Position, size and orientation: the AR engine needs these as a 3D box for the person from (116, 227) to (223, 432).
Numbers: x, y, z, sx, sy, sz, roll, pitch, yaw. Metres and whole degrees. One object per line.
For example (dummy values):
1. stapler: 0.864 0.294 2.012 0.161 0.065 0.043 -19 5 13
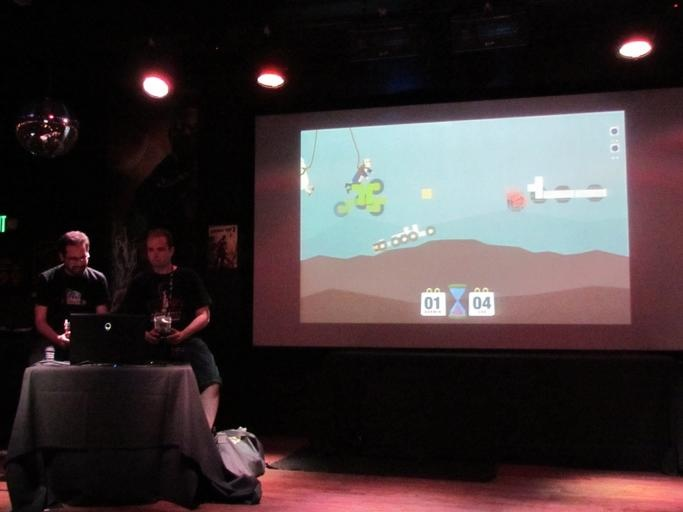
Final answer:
1. person: -1.459 0.654 4.847 0.929 1.571 0.937 -4 12 -23

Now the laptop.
1. laptop: -1.527 0.567 4.111 0.526 0.335 0.370 0 -6 -4
